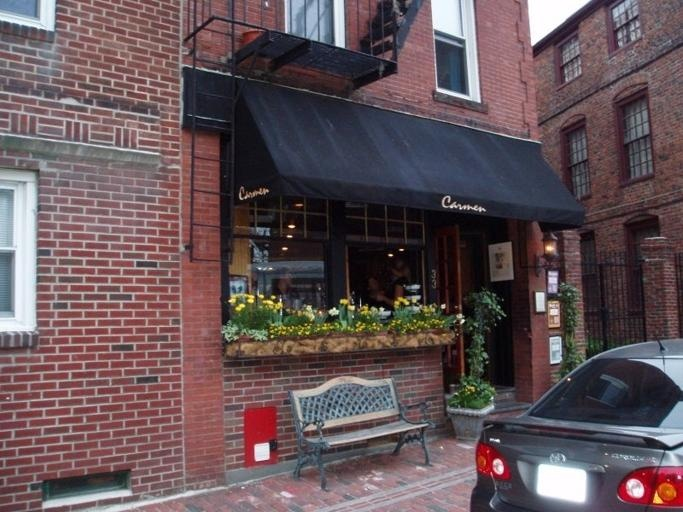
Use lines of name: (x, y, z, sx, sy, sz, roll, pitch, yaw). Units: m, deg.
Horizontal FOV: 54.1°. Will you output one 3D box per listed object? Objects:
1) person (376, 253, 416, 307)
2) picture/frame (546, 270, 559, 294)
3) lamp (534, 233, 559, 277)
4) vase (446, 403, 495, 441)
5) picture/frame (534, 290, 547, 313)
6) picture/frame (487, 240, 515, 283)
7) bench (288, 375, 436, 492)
person: (0.911, 0.424, 11.747, 0.186, 0.866, 0.759, 5, 9, 43)
picture/frame: (4.054, 0.474, 12.915, 0.031, 0.529, 0.483, 0, 0, 44)
lamp: (4.080, -0.114, 13.079, 0.305, 0.818, 1.188, 2, 8, 30)
vase: (2.188, 2.805, 11.188, 0.673, 0.544, 0.745, 12, -14, -39)
picture/frame: (3.731, 0.845, 12.606, 0.417, 0.475, 0.066, 4, -6, -38)
picture/frame: (3.108, 0.097, 13.029, 0.016, 0.736, 0.556, 4, -9, -44)
bench: (0.300, 2.410, 9.540, 2.138, 1.318, 0.881, 3, -4, -43)
